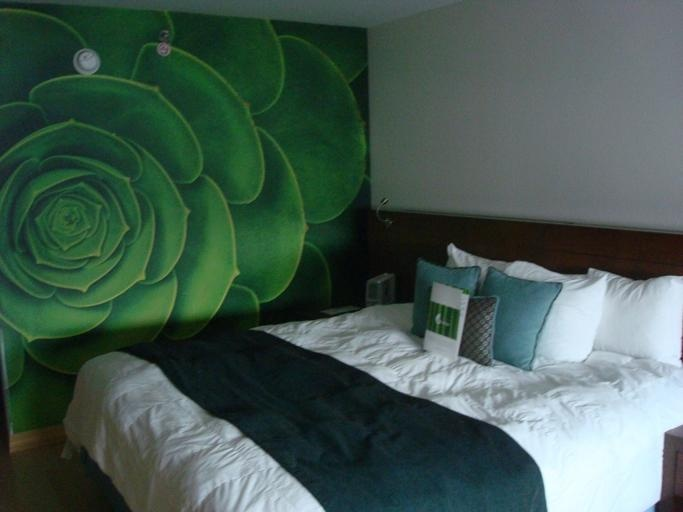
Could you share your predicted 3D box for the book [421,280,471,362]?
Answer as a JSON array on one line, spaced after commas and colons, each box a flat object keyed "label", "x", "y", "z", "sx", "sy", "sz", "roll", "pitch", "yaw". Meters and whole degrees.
[{"label": "book", "x": 0.638, "y": 0.403, "z": 3.331, "sx": 0.073, "sy": 0.517, "sz": 0.379, "roll": 6, "pitch": 4, "yaw": -34}]
